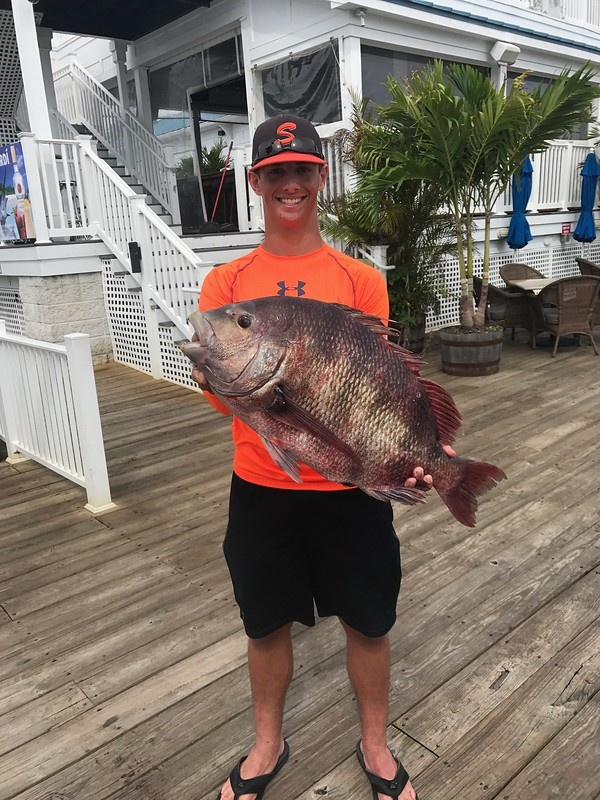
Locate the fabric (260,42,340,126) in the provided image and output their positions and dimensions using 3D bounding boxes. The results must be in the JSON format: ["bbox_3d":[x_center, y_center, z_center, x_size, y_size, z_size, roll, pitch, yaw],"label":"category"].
[{"bbox_3d":[-0.032,-4.048,7.805,1.344,0.873,0.084,9,20,34],"label":"fabric"}]

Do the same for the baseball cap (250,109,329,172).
[{"bbox_3d":[-0.026,-0.570,1.307,0.171,0.102,0.208,-3,30,8],"label":"baseball cap"}]

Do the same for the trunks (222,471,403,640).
[{"bbox_3d":[0.036,0.395,1.511,0.449,0.371,0.243,-2,-7,3],"label":"trunks"}]

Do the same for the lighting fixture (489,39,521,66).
[{"bbox_3d":[3.113,-5.257,9.160,0.528,0.284,0.263,-15,24,-38],"label":"lighting fixture"}]

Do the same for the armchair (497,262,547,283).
[{"bbox_3d":[3.237,-1.896,8.835,0.642,0.238,0.661,4,30,1],"label":"armchair"}]

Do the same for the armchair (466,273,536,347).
[{"bbox_3d":[2.675,-1.223,8.066,0.868,1.024,0.859,-10,34,0],"label":"armchair"}]

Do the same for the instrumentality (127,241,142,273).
[{"bbox_3d":[-1.862,-1.616,6.868,0.137,0.353,0.101,-9,21,-21],"label":"instrumentality"}]

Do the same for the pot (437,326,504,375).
[{"bbox_3d":[1.848,-0.521,6.508,0.602,0.403,0.589,-1,9,0],"label":"pot"}]
